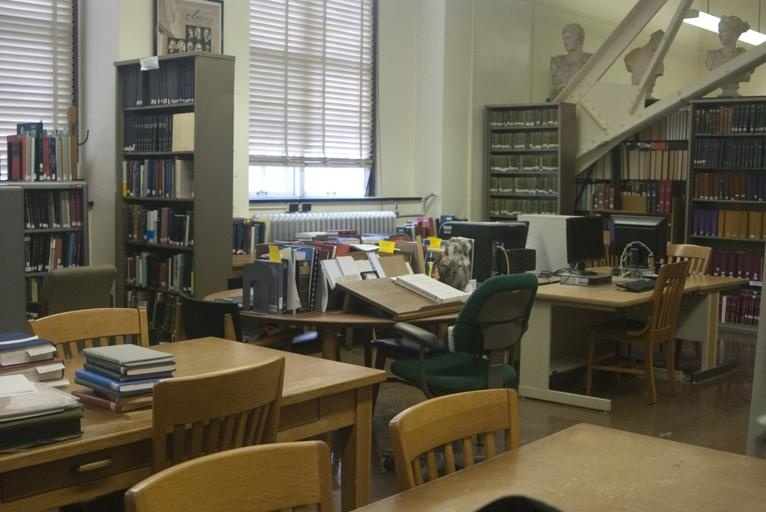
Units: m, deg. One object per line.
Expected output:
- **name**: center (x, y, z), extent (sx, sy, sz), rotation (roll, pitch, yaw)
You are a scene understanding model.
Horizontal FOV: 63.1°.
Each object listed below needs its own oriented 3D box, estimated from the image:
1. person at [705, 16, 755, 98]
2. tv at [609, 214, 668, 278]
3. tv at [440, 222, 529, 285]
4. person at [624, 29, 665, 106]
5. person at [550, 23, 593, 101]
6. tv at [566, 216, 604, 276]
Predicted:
- **person**: center (4.931, -2.866, 8.941), extent (0.593, 1.300, 2.184), rotation (6, 10, 29)
- **tv**: center (2.434, -0.130, 6.063), extent (0.536, 0.481, 0.262), rotation (3, -2, 3)
- **tv**: center (0.892, -0.061, 5.427), extent (0.807, 0.565, 0.512), rotation (5, 15, 44)
- **person**: center (3.899, -2.868, 9.386), extent (0.543, 1.250, 2.393), rotation (4, 9, 22)
- **person**: center (2.831, -2.990, 9.508), extent (0.571, 1.149, 0.448), rotation (4, 10, 22)
- **tv**: center (1.842, -0.106, 5.850), extent (0.526, 0.509, 0.178), rotation (-3, 0, -37)
